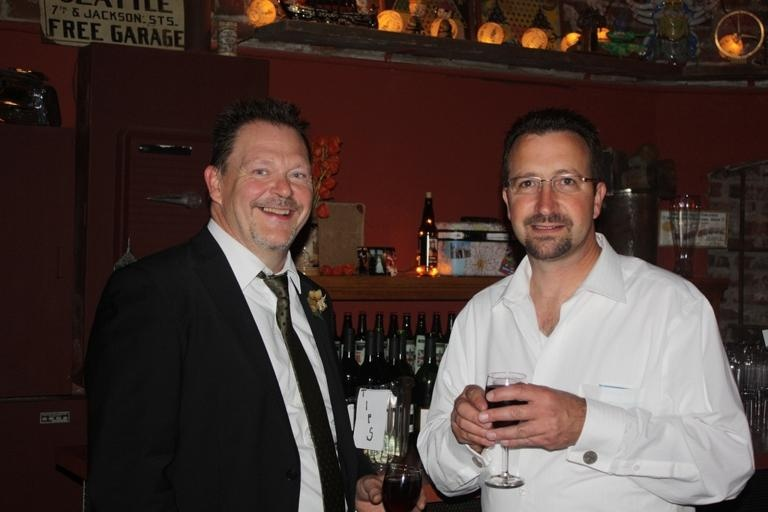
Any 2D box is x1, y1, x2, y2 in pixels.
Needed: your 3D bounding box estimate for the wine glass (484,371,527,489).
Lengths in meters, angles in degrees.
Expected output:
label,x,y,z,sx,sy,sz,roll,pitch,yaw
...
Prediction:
label,x,y,z,sx,sy,sz,roll,pitch,yaw
wine glass,0.423,0.619,2.475,0.137,0.429,0.213,0,0,10
